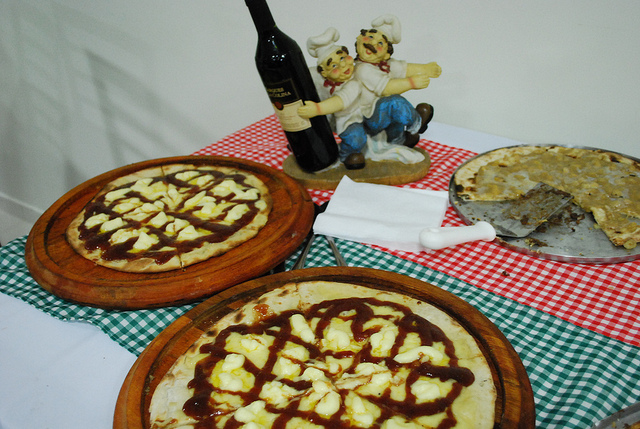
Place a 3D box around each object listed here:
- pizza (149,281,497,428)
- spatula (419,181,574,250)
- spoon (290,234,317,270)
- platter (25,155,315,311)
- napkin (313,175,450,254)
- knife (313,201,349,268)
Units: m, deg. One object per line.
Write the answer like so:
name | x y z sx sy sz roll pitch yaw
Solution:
pizza | 0.024 0.329 1.197 0.718 0.078 0.403 3 46 13
spatula | 0.476 0.017 1.463 0.423 0.114 0.119 -16 29 -11
spoon | -0.044 0.102 1.440 0.026 0.019 0.141 26 34 3
platter | -0.477 -0.010 1.660 0.885 0.063 0.752 -13 25 -6
napkin | 0.192 -0.022 1.586 0.345 0.052 0.257 13 52 22
knife | -0.004 0.052 1.555 0.048 0.035 0.341 -6 40 -20
